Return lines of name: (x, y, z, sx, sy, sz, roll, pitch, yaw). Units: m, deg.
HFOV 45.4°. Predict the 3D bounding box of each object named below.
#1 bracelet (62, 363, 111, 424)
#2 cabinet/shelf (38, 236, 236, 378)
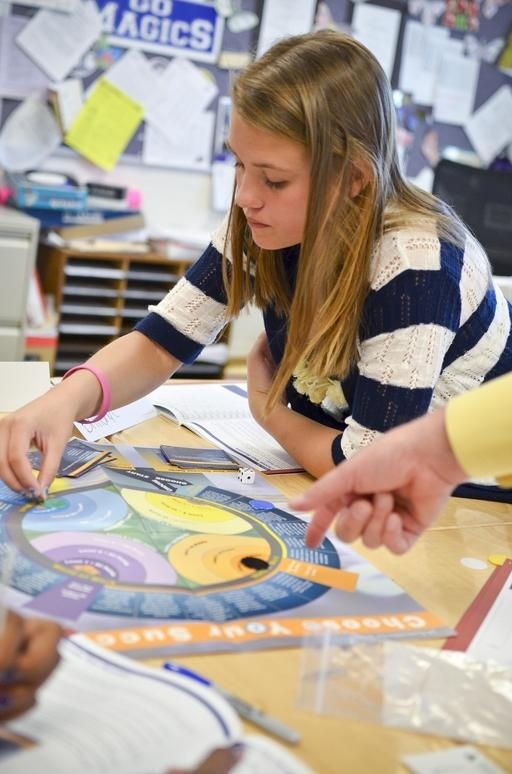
bracelet: (-0.220, 0.004, 0.809, 0.070, 0.076, 0.019, 5, 6, -3)
cabinet/shelf: (-0.395, -0.251, 1.717, 0.566, 0.520, 0.184, -2, 14, -26)
